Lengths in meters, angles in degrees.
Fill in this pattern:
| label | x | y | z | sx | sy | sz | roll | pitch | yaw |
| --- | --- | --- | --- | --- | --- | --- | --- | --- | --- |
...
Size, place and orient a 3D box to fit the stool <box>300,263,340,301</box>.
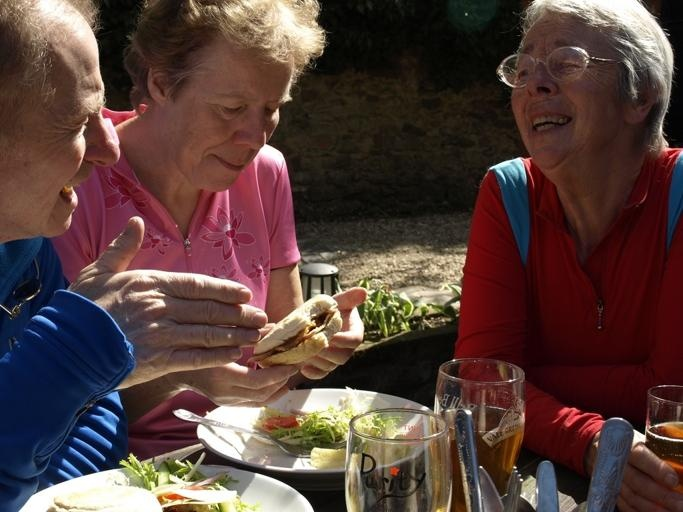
| label | x | y | z | sx | sy | sz | roll | pitch | yaw |
| --- | --- | --- | --- | --- | --- | --- | --- | --- | --- |
| stool | -0.143 | 0.160 | 4.293 | 0.222 | 0.234 | 0.231 | 0 | 4 | 1 |
